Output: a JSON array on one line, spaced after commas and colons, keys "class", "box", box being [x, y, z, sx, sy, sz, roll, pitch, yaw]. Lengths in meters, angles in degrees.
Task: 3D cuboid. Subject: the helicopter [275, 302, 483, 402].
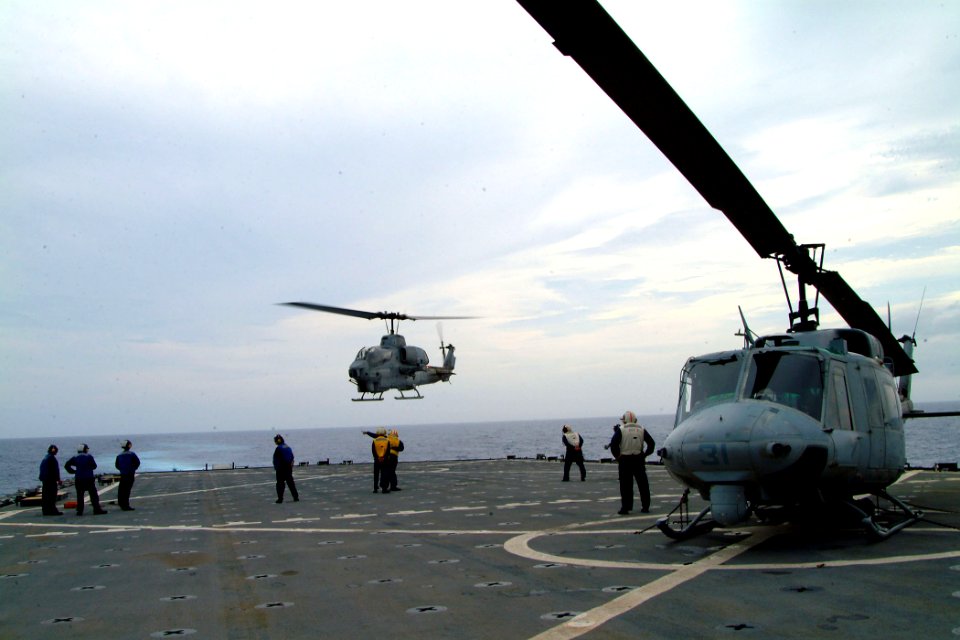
[{"class": "helicopter", "box": [-4.549, 1.983, 35.324, 6.761, 2.159, 6.750, -6, -11, 37]}]
